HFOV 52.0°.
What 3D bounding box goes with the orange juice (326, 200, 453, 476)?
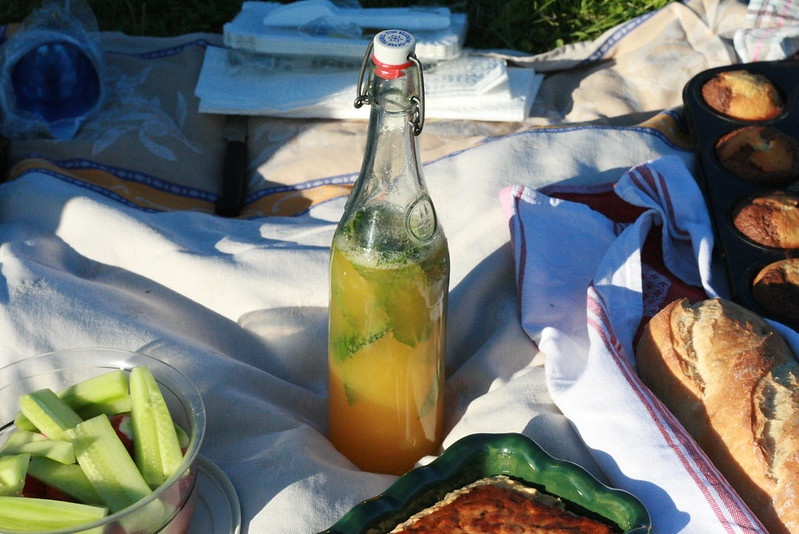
[{"bbox_3d":[-0.012,0.015,1.208,0.167,0.598,0.175,5,24,4],"label":"orange juice"}]
